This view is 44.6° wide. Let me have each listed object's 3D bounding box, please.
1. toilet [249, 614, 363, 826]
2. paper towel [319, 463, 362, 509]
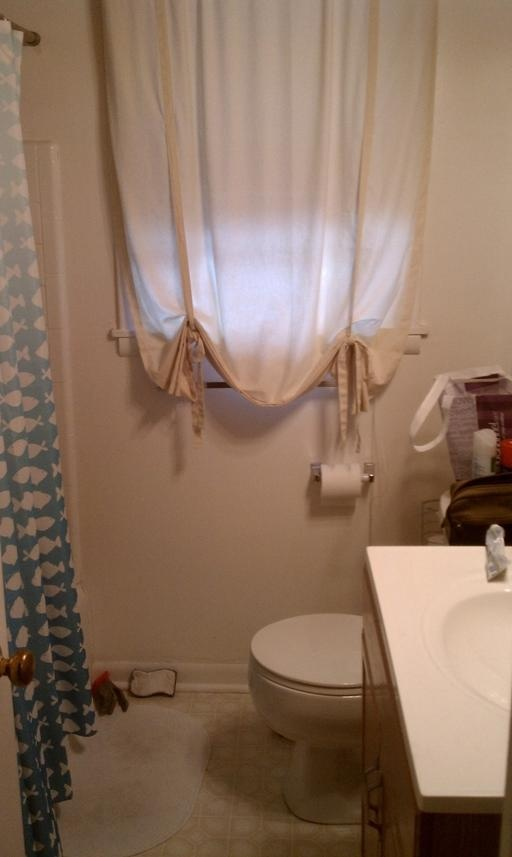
[{"bbox_3d":[0.124,0.685,1.491,0.282,0.392,0.387,0,-1,1],"label":"toilet"},{"bbox_3d":[0.236,0.141,1.706,0.102,0.115,0.087,-2,8,-1],"label":"paper towel"}]
